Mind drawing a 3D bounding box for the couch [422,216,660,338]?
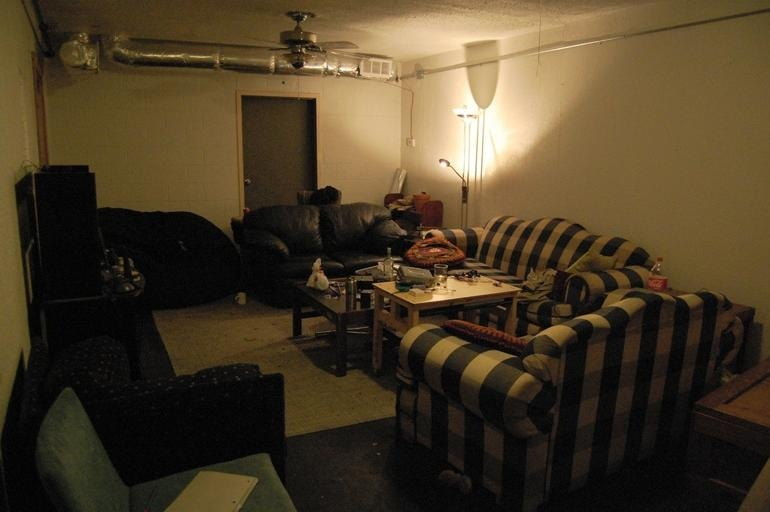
[{"bbox_3d":[1.211,0.183,5.892,1.325,1.190,2.804,1,9,-19],"label":"couch"}]

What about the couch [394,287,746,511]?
[{"bbox_3d":[1.150,0.800,3.538,1.954,1.199,0.778,-4,19,-12],"label":"couch"}]

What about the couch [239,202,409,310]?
[{"bbox_3d":[-0.687,-0.094,6.889,2.024,0.928,1.053,-3,20,-24],"label":"couch"}]

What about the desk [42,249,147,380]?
[{"bbox_3d":[-2.085,0.325,4.413,0.889,1.058,0.929,-2,6,-28],"label":"desk"}]

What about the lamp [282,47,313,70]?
[{"bbox_3d":[-0.899,-1.999,5.936,0.276,0.233,0.262,3,13,1],"label":"lamp"}]

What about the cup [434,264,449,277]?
[{"bbox_3d":[0.486,0.126,4.994,0.116,0.078,0.110,1,4,0],"label":"cup"}]

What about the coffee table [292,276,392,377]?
[{"bbox_3d":[-0.350,0.563,5.169,0.666,0.418,0.919,-4,12,-31],"label":"coffee table"}]

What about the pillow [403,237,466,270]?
[{"bbox_3d":[0.495,-0.026,5.934,0.425,0.129,0.402,1,15,-6],"label":"pillow"}]

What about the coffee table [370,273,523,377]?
[{"bbox_3d":[0.503,0.582,4.955,1.101,0.652,0.591,-5,15,-31],"label":"coffee table"}]
